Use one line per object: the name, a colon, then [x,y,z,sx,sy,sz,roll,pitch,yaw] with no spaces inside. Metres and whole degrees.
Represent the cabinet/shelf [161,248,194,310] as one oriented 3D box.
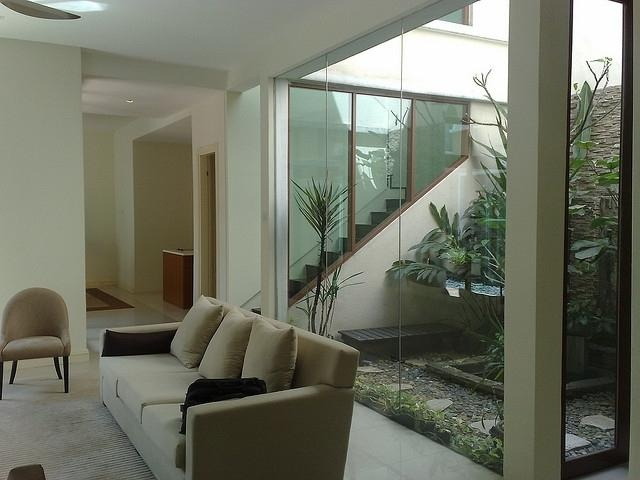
cabinet/shelf: [-2.581,0.741,9.088,0.499,0.910,0.965,-2,4,-20]
